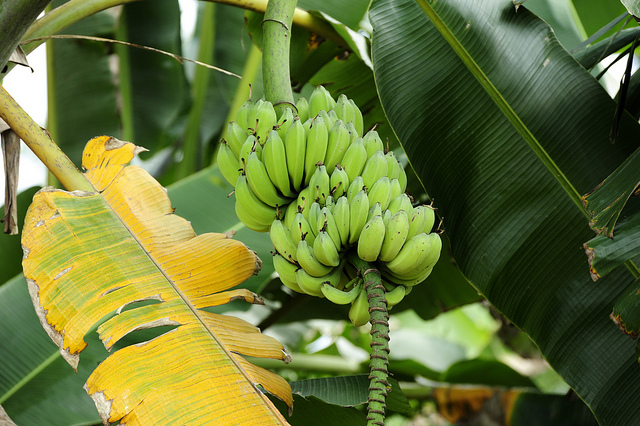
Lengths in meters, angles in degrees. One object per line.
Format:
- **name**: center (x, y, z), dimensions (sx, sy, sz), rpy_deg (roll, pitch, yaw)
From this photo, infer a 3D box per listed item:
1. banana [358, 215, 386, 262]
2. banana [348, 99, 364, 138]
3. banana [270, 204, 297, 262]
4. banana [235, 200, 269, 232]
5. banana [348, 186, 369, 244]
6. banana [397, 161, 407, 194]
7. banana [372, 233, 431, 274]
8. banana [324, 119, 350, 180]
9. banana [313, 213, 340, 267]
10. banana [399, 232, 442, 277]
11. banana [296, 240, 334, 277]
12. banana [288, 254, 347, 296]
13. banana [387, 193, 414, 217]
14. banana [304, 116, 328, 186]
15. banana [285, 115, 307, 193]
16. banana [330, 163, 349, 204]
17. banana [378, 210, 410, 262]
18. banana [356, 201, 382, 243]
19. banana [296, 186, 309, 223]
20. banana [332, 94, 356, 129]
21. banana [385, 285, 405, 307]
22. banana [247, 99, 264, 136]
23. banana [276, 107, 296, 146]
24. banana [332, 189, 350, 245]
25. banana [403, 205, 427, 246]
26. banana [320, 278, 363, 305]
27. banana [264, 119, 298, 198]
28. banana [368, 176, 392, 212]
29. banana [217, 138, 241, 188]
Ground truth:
- **banana**: center (0.280, 0.167, 4.047), dimensions (0.111, 0.217, 0.096), rpy_deg (10, 25, -24)
- **banana**: center (0.207, -0.515, 4.447), dimensions (0.070, 0.231, 0.058), rpy_deg (-14, 14, -19)
- **banana**: center (-0.139, 0.102, 4.217), dimensions (0.097, 0.358, 0.133), rpy_deg (-44, 53, -8)
- **banana**: center (-0.371, 0.039, 4.335), dimensions (0.053, 0.163, 0.160), rpy_deg (-31, 57, -11)
- **banana**: center (0.184, 0.018, 4.095), dimensions (0.078, 0.264, 0.089), rpy_deg (12, -2, -24)
- **banana**: center (0.440, -0.183, 4.314), dimensions (0.042, 0.179, 0.063), rpy_deg (-3, 15, 3)
- **banana**: center (0.433, 0.222, 4.056), dimensions (0.238, 0.138, 0.080), rpy_deg (-43, 21, 5)
- **banana**: center (0.076, -0.346, 4.233), dimensions (0.101, 0.349, 0.116), rpy_deg (9, 1, -13)
- **banana**: center (0.024, 0.163, 4.056), dimensions (0.107, 0.287, 0.113), rpy_deg (1, 30, 20)
- **banana**: center (0.529, 0.223, 4.103), dimensions (0.123, 0.219, 0.059), rpy_deg (40, 42, 18)
- **banana**: center (-0.024, 0.216, 4.137), dimensions (0.069, 0.152, 0.233), rpy_deg (-15, 1, 27)
- **banana**: center (-0.016, 0.242, 4.086), dimensions (0.252, 0.151, 0.094), rpy_deg (-37, 20, 33)
- **banana**: center (0.408, -0.044, 4.113), dimensions (0.066, 0.087, 0.118), rpy_deg (-5, 54, 44)
- **banana**: center (-0.022, -0.320, 4.206), dimensions (0.104, 0.346, 0.099), rpy_deg (-2, -4, 40)
- **banana**: center (-0.132, -0.315, 4.128), dimensions (0.091, 0.361, 0.111), rpy_deg (0, 10, -3)
- **banana**: center (0.097, -0.142, 4.163), dimensions (0.094, 0.260, 0.077), rpy_deg (34, 52, 20)
- **banana**: center (0.372, 0.152, 4.126), dimensions (0.150, 0.112, 0.317), rpy_deg (-11, 13, 21)
- **banana**: center (0.279, 0.039, 4.095), dimensions (0.087, 0.073, 0.250), rpy_deg (-1, 58, 62)
- **banana**: center (-0.087, -0.060, 4.175), dimensions (0.033, 0.150, 0.092), rpy_deg (4, -1, -20)
- **banana**: center (0.115, -0.533, 4.362), dimensions (0.064, 0.080, 0.235), rpy_deg (-27, 41, 33)
- **banana**: center (0.380, 0.418, 4.076), dimensions (0.065, 0.047, 0.180), rpy_deg (-6, 22, 26)
- **banana**: center (-0.363, -0.533, 4.297), dimensions (0.067, 0.225, 0.065), rpy_deg (9, 17, -15)
- **banana**: center (-0.189, -0.461, 4.201), dimensions (0.070, 0.217, 0.062), rpy_deg (8, 8, -4)
- **banana**: center (0.109, 0.027, 4.044), dimensions (0.061, 0.246, 0.094), rpy_deg (-3, 9, 6)
- **banana**: center (0.486, 0.057, 4.171), dimensions (0.098, 0.222, 0.078), rpy_deg (12, 0, -6)
- **banana**: center (0.114, 0.391, 4.057), dimensions (0.226, 0.168, 0.078), rpy_deg (4, -2, 30)
- **banana**: center (-0.223, -0.273, 4.184), dimensions (0.147, 0.401, 0.104), rpy_deg (-12, 6, -18)
- **banana**: center (0.304, -0.104, 4.158), dimensions (0.094, 0.185, 0.062), rpy_deg (19, 3, -9)
- **banana**: center (-0.498, -0.264, 4.361), dimensions (0.088, 0.307, 0.108), rpy_deg (-13, 12, -5)
